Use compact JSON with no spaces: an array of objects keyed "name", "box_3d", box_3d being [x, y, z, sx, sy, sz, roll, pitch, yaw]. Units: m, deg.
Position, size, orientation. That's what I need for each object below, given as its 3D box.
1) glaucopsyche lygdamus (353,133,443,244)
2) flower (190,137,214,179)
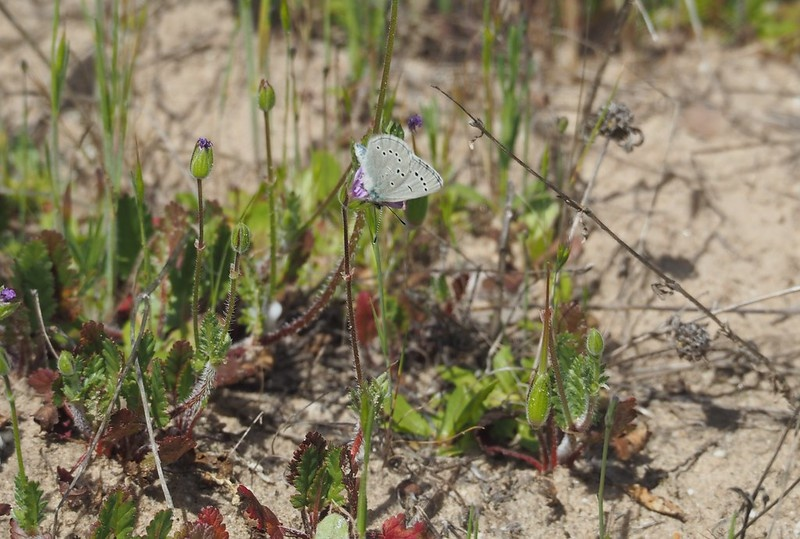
[{"name":"glaucopsyche lygdamus","box_3d":[-0.063,-0.303,3.566,0.170,0.342,0.226,-12,86,14]},{"name":"flower","box_3d":[-0.722,-0.404,3.632,0.078,0.164,0.076,32,31,33]}]
